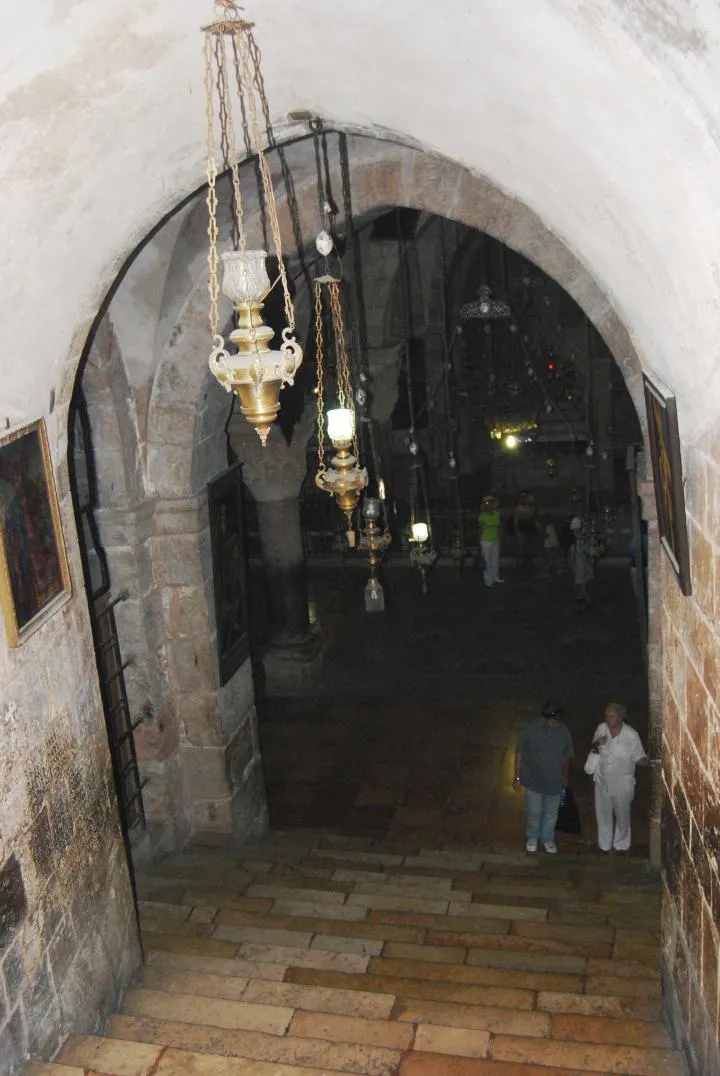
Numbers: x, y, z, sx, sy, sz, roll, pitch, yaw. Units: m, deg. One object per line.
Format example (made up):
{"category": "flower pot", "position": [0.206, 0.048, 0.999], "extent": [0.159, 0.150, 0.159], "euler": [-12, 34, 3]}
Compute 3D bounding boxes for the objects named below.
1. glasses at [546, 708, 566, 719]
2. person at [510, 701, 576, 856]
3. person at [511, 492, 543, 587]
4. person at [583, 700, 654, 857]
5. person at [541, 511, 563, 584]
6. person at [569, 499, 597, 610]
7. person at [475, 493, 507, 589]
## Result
{"category": "glasses", "position": [1.531, 1.382, 6.246], "extent": [0.083, 0.070, 0.113], "euler": [0, -6, 2]}
{"category": "person", "position": [1.520, 1.986, 6.575], "extent": [0.463, 1.396, 0.367], "euler": [3, 18, 9]}
{"category": "person", "position": [3.127, -0.066, 15.009], "extent": [0.429, 1.386, 0.928], "euler": [-1, 14, 10]}
{"category": "person", "position": [2.083, 1.978, 6.521], "extent": [0.454, 1.578, 0.594], "euler": [1, 15, 19]}
{"category": "person", "position": [3.659, 0.095, 15.126], "extent": [0.359, 0.947, 1.729], "euler": [0, 15, 14]}
{"category": "person", "position": [3.866, 0.263, 13.842], "extent": [0.378, 1.293, 1.439], "euler": [0, 15, 16]}
{"category": "person", "position": [2.356, 0.015, 14.440], "extent": [0.399, 1.619, 0.640], "euler": [-2, 14, 8]}
